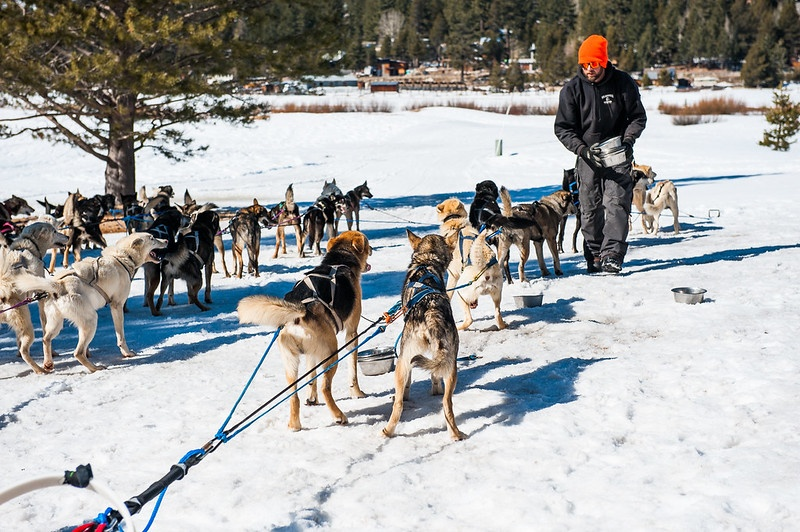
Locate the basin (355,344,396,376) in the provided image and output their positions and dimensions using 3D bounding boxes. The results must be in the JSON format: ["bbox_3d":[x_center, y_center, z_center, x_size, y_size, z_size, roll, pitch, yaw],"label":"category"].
[{"bbox_3d":[-0.234,1.044,8.319,0.307,0.151,0.320,-4,10,1],"label":"basin"}]

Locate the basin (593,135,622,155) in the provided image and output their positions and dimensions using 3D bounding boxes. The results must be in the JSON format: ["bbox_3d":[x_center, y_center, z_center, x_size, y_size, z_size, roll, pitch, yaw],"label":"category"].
[{"bbox_3d":[2.799,-1.639,10.087,0.401,0.194,0.154,0,14,13],"label":"basin"}]

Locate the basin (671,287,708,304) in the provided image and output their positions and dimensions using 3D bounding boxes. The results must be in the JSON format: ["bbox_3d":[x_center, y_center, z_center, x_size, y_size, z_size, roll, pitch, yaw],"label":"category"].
[{"bbox_3d":[3.639,0.340,9.409,0.389,0.193,0.316,2,14,21],"label":"basin"}]
